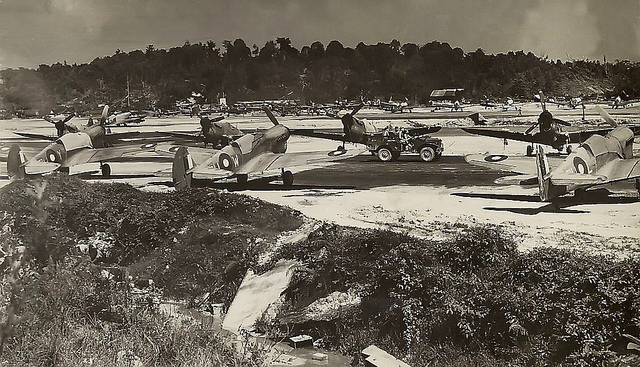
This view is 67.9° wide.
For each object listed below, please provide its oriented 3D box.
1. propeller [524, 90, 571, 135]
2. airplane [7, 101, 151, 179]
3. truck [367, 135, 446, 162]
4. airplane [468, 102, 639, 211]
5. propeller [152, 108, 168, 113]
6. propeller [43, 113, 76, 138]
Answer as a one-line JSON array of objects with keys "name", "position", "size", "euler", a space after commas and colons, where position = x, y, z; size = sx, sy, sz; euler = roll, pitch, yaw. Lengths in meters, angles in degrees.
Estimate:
[{"name": "propeller", "position": [6.749, -2.144, 13.999], "size": [0.173, 1.032, 1.038], "euler": [-21, 22, -40]}, {"name": "airplane", "position": [-7.500, -0.960, 14.317], "size": [2.956, 1.290, 2.691], "euler": [7, 13, 28]}, {"name": "truck", "position": [3.205, -1.216, 17.702], "size": [2.141, 0.932, 1.107], "euler": [0, 9, 6]}, {"name": "airplane", "position": [6.927, -0.474, 12.898], "size": [3.749, 1.347, 3.287], "euler": [6, 21, 30]}, {"name": "propeller", "position": [-4.834, -2.234, 14.413], "size": [0.435, 0.070, 0.094], "euler": [9, 42, -32]}, {"name": "propeller", "position": [-8.225, -1.848, 15.043], "size": [0.771, 0.745, 0.104], "euler": [-13, 53, -41]}]
